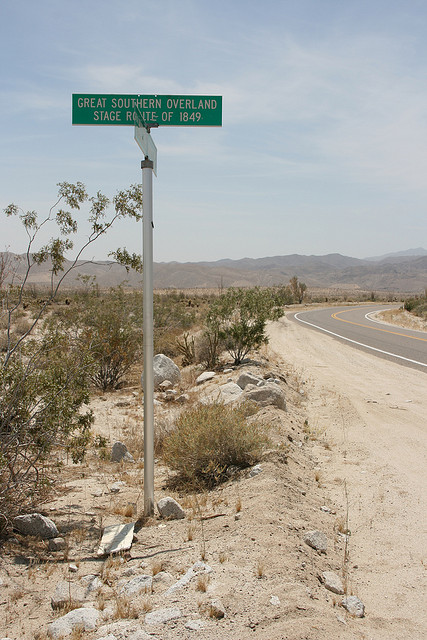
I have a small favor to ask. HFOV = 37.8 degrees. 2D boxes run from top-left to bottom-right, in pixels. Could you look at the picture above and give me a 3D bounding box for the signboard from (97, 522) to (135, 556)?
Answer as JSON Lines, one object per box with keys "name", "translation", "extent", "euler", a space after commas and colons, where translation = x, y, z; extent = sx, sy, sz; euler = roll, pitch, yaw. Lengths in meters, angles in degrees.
{"name": "signboard", "translation": [-0.817, 1.825, 5.296], "extent": [0.267, 0.131, 0.456], "euler": [5, 6, -6]}
